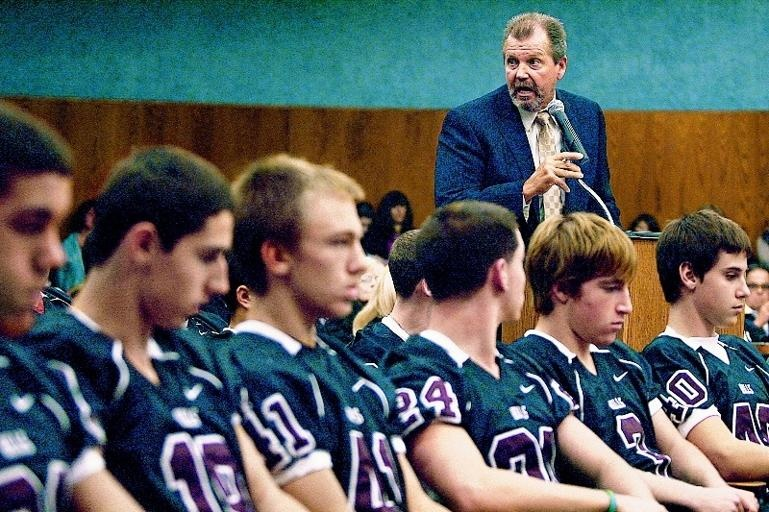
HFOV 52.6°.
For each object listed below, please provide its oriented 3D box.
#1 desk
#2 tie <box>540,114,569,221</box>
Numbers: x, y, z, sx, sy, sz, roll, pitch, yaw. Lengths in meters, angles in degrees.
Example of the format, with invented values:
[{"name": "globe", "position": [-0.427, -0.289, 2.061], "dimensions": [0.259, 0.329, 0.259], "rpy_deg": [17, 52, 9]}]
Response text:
[{"name": "desk", "position": [1.012, 0.219, 3.585], "dimensions": [0.959, 0.901, 0.563], "rpy_deg": [0, -5, -2]}, {"name": "tie", "position": [0.765, -0.455, 3.601], "dimensions": [0.114, 0.602, 0.088], "rpy_deg": [-8, -14, 9]}]
